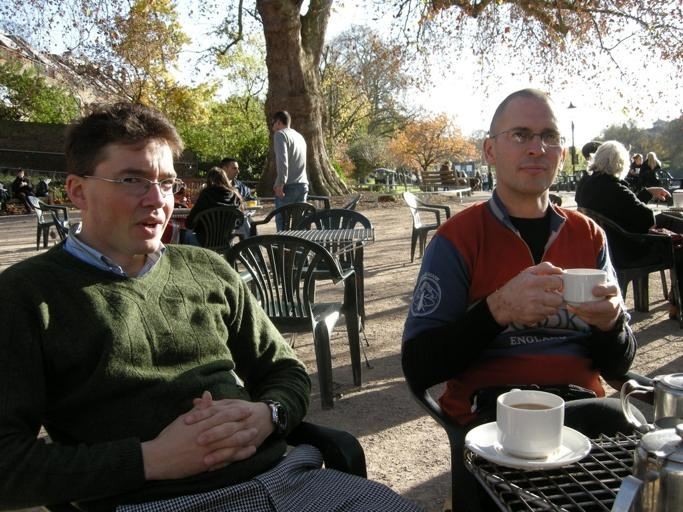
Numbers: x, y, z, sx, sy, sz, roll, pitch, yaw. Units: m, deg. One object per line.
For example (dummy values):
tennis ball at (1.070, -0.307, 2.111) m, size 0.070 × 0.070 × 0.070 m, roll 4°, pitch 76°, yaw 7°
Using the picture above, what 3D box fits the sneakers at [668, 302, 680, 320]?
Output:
sneakers at (3.439, 0.582, 5.483) m, size 0.083 × 0.102 × 0.255 m, roll 1°, pitch 23°, yaw 19°

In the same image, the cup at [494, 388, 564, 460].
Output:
cup at (0.495, 0.437, 1.381) m, size 0.135 × 0.127 × 0.186 m, roll 0°, pitch -2°, yaw 8°

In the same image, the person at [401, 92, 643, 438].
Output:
person at (0.806, 0.025, 2.285) m, size 0.923 × 1.507 × 0.813 m, roll 2°, pitch -8°, yaw -1°

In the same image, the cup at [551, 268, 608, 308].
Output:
cup at (0.793, 0.111, 1.754) m, size 0.152 × 0.097 × 0.095 m, roll 3°, pitch 7°, yaw 43°

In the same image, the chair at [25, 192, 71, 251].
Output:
chair at (-6.437, -0.756, 11.617) m, size 0.726 × 0.978 × 0.644 m, roll 1°, pitch 12°, yaw -13°

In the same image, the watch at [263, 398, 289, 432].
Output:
watch at (-0.229, 0.588, 1.949) m, size 0.076 × 0.108 × 0.115 m, roll 0°, pitch -29°, yaw 1°

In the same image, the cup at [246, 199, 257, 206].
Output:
cup at (-1.576, -0.916, 9.156) m, size 0.176 × 0.128 × 0.141 m, roll -3°, pitch 9°, yaw -3°
